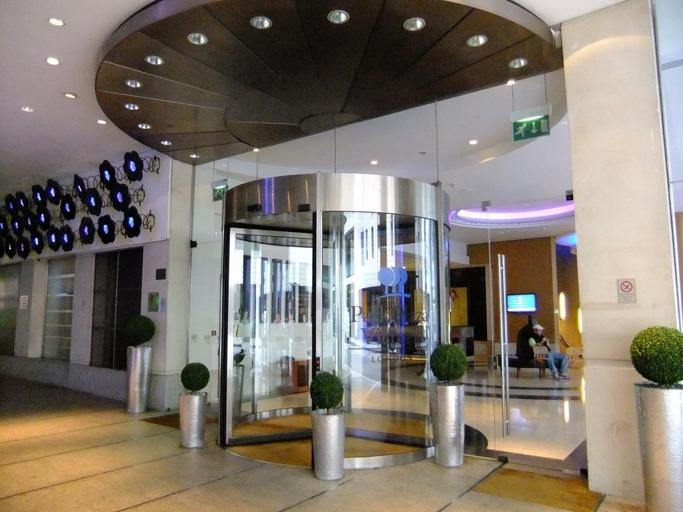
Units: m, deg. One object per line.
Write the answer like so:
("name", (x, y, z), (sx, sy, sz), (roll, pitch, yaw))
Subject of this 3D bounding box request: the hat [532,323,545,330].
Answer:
("hat", (3.091, 1.118, 7.960), (0.141, 0.075, 0.218), (2, -5, -11))

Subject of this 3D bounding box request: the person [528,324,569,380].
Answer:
("person", (3.548, 1.640, 8.635), (0.381, 0.958, 0.509), (12, -27, -31))

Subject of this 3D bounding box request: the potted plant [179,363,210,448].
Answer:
("potted plant", (-2.086, 2.094, 7.118), (0.385, 1.152, 0.325), (-1, -2, -18))

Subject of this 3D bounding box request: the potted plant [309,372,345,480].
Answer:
("potted plant", (-0.164, 1.979, 5.892), (0.384, 1.200, 0.274), (-1, -2, -7))

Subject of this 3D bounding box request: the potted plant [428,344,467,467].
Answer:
("potted plant", (1.345, 1.856, 6.302), (0.455, 1.459, 0.407), (-1, -2, -4))

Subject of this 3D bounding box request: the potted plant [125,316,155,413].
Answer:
("potted plant", (-3.710, 1.989, 9.329), (0.497, 1.735, 0.463), (0, -2, -24))
